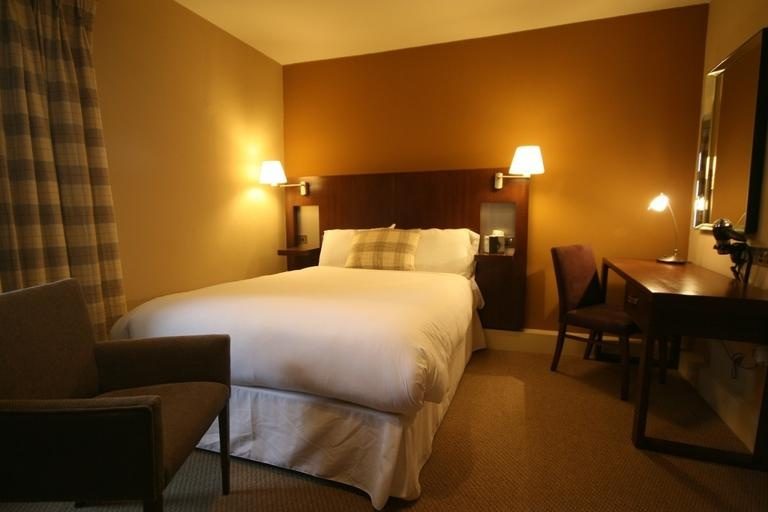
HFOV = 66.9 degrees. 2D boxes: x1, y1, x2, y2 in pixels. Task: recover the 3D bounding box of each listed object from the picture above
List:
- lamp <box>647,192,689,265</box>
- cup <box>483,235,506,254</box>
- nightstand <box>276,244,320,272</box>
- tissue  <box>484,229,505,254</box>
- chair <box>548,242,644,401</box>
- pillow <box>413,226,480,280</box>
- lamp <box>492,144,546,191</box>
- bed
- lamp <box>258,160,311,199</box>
[{"bbox_3d":[2.451,-0.239,5.023,0.364,0.585,0.384,8,9,28],"label":"lamp"},{"bbox_3d":[1.024,-0.112,5.390,0.159,0.181,0.165,-1,6,0],"label":"cup"},{"bbox_3d":[-0.900,0.021,6.076,0.363,0.417,0.291,1,2,22],"label":"nightstand"},{"bbox_3d":[1.035,-0.132,5.431,0.189,0.300,0.204,2,5,13],"label":"tissue "},{"bbox_3d":[1.867,0.491,4.956,0.656,1.179,0.684,-6,8,-37],"label":"chair"},{"bbox_3d":[0.556,-0.030,5.303,0.432,0.508,0.129,14,-3,9],"label":"pillow"},{"bbox_3d":[1.225,-0.813,5.321,0.464,0.381,0.334,-1,13,28],"label":"lamp"},{"bbox_3d":[-0.047,0.732,4.502,1.578,1.126,1.899,1,0,22],"label":"bed"},{"bbox_3d":[-1.029,-0.783,5.984,0.266,0.392,0.537,0,1,30],"label":"lamp"}]
